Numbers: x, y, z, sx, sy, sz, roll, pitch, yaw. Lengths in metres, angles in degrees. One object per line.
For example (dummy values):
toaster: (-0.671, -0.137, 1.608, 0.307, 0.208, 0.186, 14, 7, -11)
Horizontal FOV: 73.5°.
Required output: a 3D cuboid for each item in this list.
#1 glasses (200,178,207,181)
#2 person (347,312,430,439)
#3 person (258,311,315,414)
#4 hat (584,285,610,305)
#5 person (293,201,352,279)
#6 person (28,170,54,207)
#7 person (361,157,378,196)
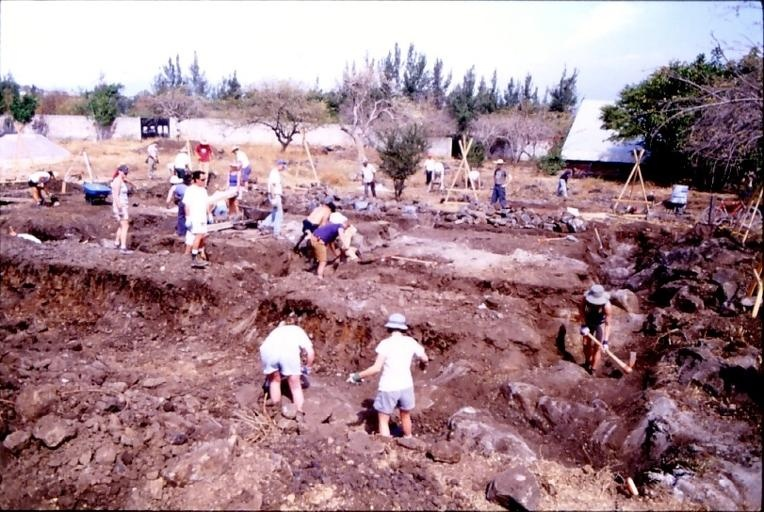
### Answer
glasses: (-3.921, -1.691, 11.257, 0.095, 0.060, 0.121, -9, 17, -36)
person: (0.196, 1.873, 8.496, 1.022, 2.156, 1.445, 6, 18, 5)
person: (-1.626, 1.839, 8.567, 0.930, 1.346, 0.510, 9, 19, 16)
hat: (4.009, 0.727, 9.569, 0.391, 0.337, 0.357, 9, 18, 17)
person: (-1.259, -0.476, 12.565, 1.305, 0.685, 1.844, 2, 54, 14)
person: (-10.296, -2.053, 15.473, 0.518, 0.903, 0.767, -7, 21, -31)
person: (-0.511, -3.078, 20.319, 0.556, 1.553, 1.535, 3, 18, -1)
